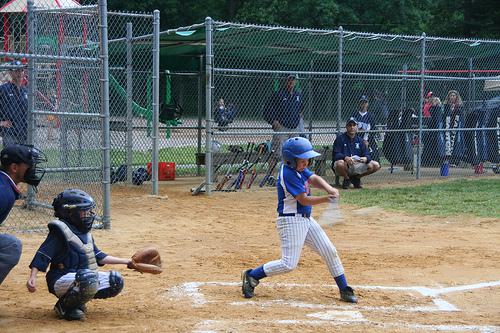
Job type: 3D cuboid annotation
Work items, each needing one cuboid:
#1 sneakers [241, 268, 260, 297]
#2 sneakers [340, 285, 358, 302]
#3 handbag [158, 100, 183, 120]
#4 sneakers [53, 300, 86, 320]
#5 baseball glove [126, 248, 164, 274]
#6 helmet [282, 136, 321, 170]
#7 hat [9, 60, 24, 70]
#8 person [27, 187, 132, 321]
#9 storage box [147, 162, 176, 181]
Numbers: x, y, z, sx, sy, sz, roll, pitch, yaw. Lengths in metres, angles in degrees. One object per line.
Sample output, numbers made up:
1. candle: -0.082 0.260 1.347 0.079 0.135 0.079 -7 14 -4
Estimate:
1. sneakers: -0.015 2.009 14.971 0.279 0.531 0.188 -18 -13 35
2. sneakers: 1.693 2.176 14.897 0.293 0.275 0.107 1 3 6
3. handbag: -2.013 -1.413 22.537 0.635 0.597 0.429 2 10 -28
4. sneakers: -3.010 2.393 14.601 0.584 0.270 0.221 6 7 19
5. baseball glove: -1.732 1.601 14.695 0.521 0.406 0.203 14 -39 -38
6. helmet: 0.864 -0.221 15.043 0.644 0.450 0.474 9 2 25
7. hat: -4.662 -2.017 17.535 0.248 0.205 0.365 4 0 -38
8. person: -2.891 1.467 14.452 1.511 2.140 0.460 0 3 -9
9. storage box: -2.070 0.121 21.762 0.511 0.437 0.497 1 -2 -44
